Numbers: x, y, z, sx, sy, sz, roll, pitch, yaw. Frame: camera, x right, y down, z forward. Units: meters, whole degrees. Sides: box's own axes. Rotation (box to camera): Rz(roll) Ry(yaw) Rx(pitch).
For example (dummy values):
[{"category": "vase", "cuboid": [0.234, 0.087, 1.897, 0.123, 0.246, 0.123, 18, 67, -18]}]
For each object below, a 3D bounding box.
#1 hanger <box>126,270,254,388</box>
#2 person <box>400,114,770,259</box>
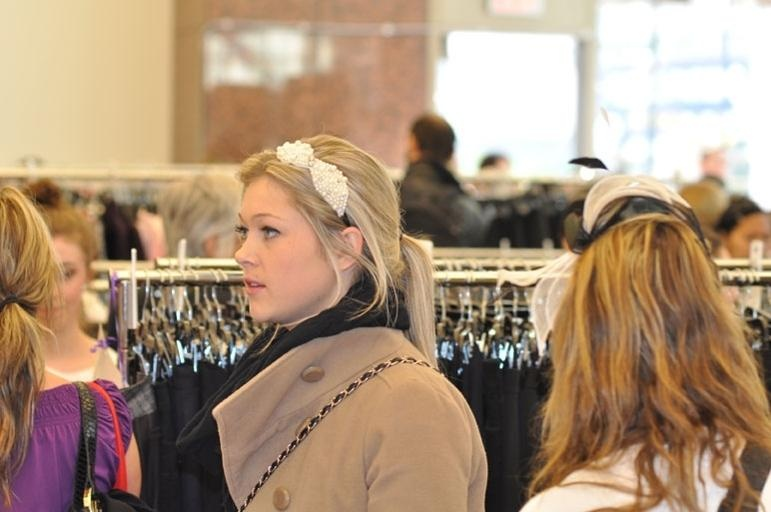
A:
[{"category": "hanger", "cuboid": [-1.060, 0.404, 8.550, 0.583, 0.657, 0.075, 0, -4, -17]}, {"category": "person", "cuboid": [1.131, -0.371, 10.715, 1.971, 1.081, 1.039, -6, 11, -23]}]
